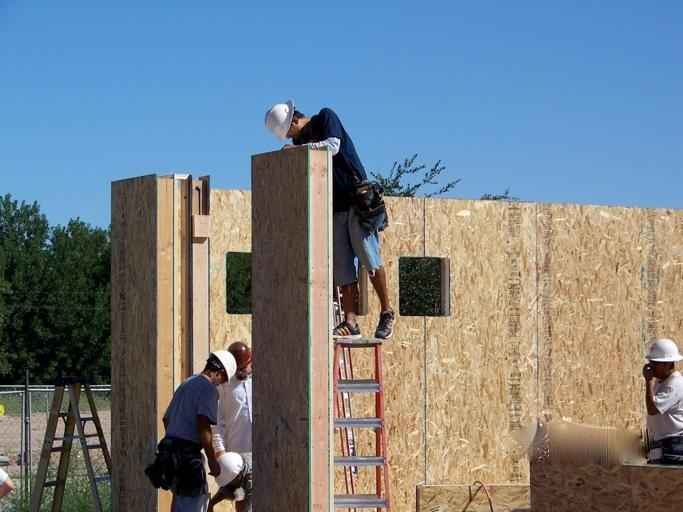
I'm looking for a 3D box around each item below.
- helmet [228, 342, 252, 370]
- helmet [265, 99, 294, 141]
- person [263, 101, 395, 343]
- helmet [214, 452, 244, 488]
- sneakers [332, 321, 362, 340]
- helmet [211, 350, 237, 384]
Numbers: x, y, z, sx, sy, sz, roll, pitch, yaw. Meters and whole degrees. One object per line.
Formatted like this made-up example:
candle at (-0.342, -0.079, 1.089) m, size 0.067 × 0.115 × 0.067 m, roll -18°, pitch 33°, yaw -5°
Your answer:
helmet at (-1.272, 1.169, 19.493) m, size 0.246 × 0.342 × 0.353 m, roll -6°, pitch 36°, yaw -6°
helmet at (-0.771, -1.676, 19.104) m, size 0.328 × 0.441 × 0.272 m, roll -1°, pitch -5°, yaw -4°
person at (-0.061, -0.456, 19.199) m, size 1.335 × 2.903 × 0.652 m, roll 0°, pitch -5°, yaw -14°
helmet at (-1.395, 2.592, 19.397) m, size 0.271 × 0.402 × 0.211 m, roll 28°, pitch -22°, yaw 23°
sneakers at (0.048, 0.900, 19.166) m, size 0.349 × 0.192 × 0.151 m, roll 7°, pitch -8°, yaw -17°
helmet at (-1.457, 1.290, 19.088) m, size 0.140 × 0.372 × 0.261 m, roll -20°, pitch -29°, yaw 3°
